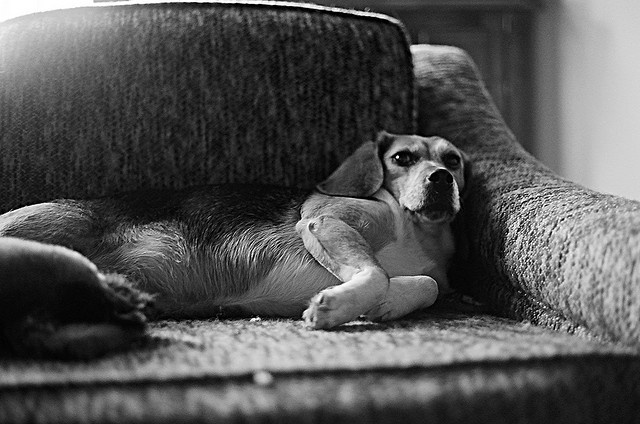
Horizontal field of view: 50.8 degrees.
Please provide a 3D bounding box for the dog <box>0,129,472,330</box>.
[{"bbox_3d":[-0.182,0.066,2.130,1.450,0.493,0.675,-2,19,-4],"label":"dog"}]
